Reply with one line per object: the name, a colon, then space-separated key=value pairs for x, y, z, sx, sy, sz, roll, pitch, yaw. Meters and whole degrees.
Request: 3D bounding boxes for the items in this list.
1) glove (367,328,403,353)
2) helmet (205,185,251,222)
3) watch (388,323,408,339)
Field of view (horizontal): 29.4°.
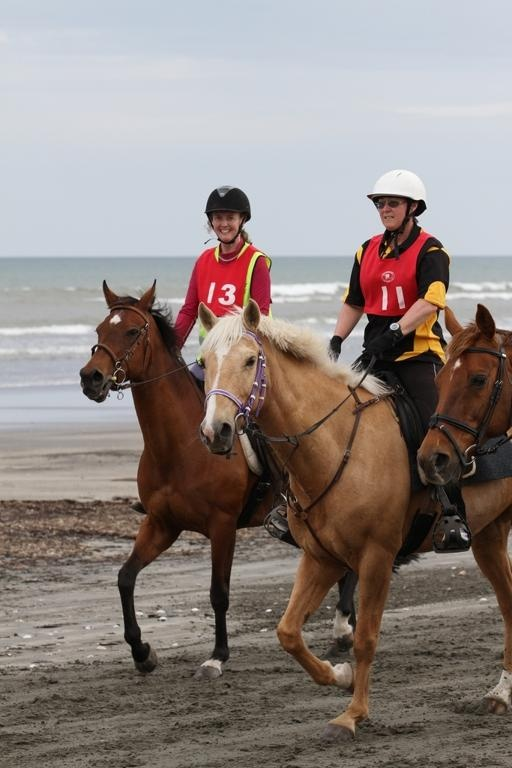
glove: x=0.785 y=-0.227 z=5.683 sx=0.206 sy=0.079 sz=0.146 roll=-31 pitch=22 yaw=17
helmet: x=-0.196 y=-1.265 z=6.860 sx=0.306 sy=0.228 sz=0.209 roll=0 pitch=1 yaw=-5
watch: x=0.814 y=-0.300 z=5.663 sx=0.102 sy=0.052 sz=0.081 roll=37 pitch=61 yaw=-1
